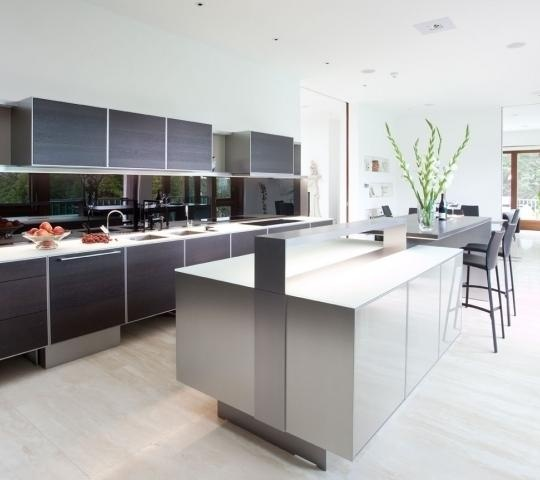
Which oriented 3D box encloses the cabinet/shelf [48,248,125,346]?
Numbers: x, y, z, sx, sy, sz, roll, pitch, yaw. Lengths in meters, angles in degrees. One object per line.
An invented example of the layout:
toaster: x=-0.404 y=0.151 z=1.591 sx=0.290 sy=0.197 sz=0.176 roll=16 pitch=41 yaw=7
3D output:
cabinet/shelf: x=-1.536 y=0.412 z=3.544 sx=0.545 sy=0.926 sz=0.564 roll=-4 pitch=10 yaw=-43

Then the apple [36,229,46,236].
apple: x=-1.857 y=-0.057 z=3.255 sx=0.054 sy=0.038 sz=0.051 roll=9 pitch=-7 yaw=-27

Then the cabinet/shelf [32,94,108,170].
cabinet/shelf: x=-1.731 y=-0.901 z=3.454 sx=0.193 sy=0.624 sz=0.616 roll=2 pitch=4 yaw=36

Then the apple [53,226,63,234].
apple: x=-1.773 y=-0.079 z=3.362 sx=0.060 sy=0.074 sz=0.068 roll=1 pitch=-4 yaw=14

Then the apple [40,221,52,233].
apple: x=-1.918 y=-0.111 z=3.422 sx=0.062 sy=0.046 sz=0.078 roll=-1 pitch=42 yaw=-49

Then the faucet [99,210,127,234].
faucet: x=-1.639 y=-0.210 z=4.243 sx=0.053 sy=0.231 sz=0.248 roll=7 pitch=12 yaw=43

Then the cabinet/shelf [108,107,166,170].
cabinet/shelf: x=-1.308 y=-0.966 z=3.933 sx=0.186 sy=0.630 sz=0.576 roll=1 pitch=2 yaw=39

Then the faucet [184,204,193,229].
faucet: x=-0.987 y=-0.311 z=4.967 sx=0.075 sy=0.274 sz=0.155 roll=4 pitch=10 yaw=28

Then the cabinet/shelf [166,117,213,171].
cabinet/shelf: x=-0.897 y=-1.036 z=4.416 sx=0.177 sy=0.590 sz=0.569 roll=1 pitch=2 yaw=38

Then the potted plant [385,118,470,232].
potted plant: x=1.644 y=-0.651 z=4.247 sx=0.595 sy=0.880 sz=0.539 roll=-1 pitch=5 yaw=25

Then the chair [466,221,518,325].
chair: x=2.235 y=0.398 z=4.248 sx=0.519 sy=1.188 sz=0.496 roll=5 pitch=26 yaw=40

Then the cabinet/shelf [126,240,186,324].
cabinet/shelf: x=-1.063 y=0.355 z=3.671 sx=0.348 sy=0.756 sz=0.651 roll=5 pitch=7 yaw=36

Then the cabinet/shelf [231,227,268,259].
cabinet/shelf: x=-0.264 y=0.035 z=4.881 sx=0.131 sy=0.311 sz=0.569 roll=6 pitch=12 yaw=38

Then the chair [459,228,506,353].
chair: x=2.053 y=0.435 z=3.939 sx=0.447 sy=1.043 sz=0.455 roll=-14 pitch=15 yaw=-43
